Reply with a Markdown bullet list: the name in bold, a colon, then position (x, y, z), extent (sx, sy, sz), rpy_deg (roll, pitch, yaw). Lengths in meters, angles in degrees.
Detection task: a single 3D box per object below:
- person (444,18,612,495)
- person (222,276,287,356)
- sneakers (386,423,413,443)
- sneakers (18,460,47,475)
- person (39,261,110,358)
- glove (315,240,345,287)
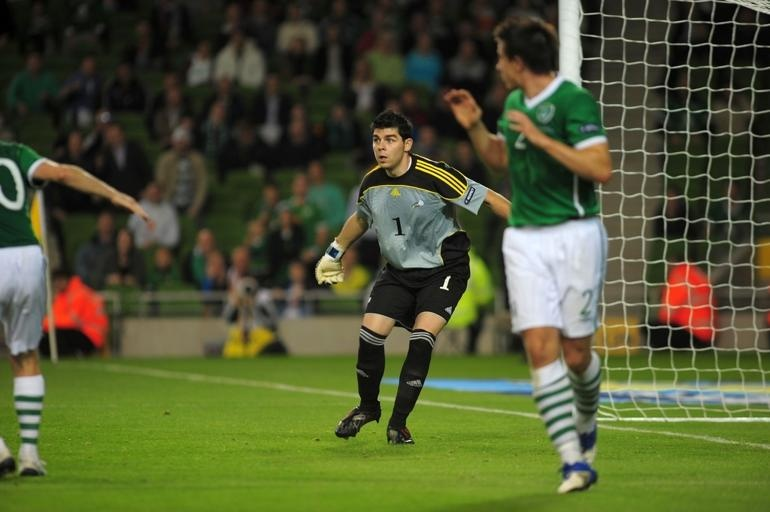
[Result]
- **person**: position (1.248, -0.029, 8.145), extent (1.020, 3.785, 0.698), rpy_deg (1, 4, 10)
- **person**: position (-2.284, 1.065, 17.384), extent (0.957, 1.289, 0.534), rpy_deg (-5, 13, -24)
- **sneakers**: position (0.167, 1.699, 9.661), extent (0.109, 0.145, 0.327), rpy_deg (0, -5, 34)
- **sneakers**: position (-2.946, 1.768, 8.520), extent (0.100, 0.116, 0.271), rpy_deg (1, -14, -15)
- **person**: position (-4.928, 1.007, 16.686), extent (1.193, 1.958, 0.780), rpy_deg (-4, 7, -4)
- **glove**: position (-0.486, 0.105, 10.444), extent (0.117, 0.417, 0.316), rpy_deg (29, 3, -32)
